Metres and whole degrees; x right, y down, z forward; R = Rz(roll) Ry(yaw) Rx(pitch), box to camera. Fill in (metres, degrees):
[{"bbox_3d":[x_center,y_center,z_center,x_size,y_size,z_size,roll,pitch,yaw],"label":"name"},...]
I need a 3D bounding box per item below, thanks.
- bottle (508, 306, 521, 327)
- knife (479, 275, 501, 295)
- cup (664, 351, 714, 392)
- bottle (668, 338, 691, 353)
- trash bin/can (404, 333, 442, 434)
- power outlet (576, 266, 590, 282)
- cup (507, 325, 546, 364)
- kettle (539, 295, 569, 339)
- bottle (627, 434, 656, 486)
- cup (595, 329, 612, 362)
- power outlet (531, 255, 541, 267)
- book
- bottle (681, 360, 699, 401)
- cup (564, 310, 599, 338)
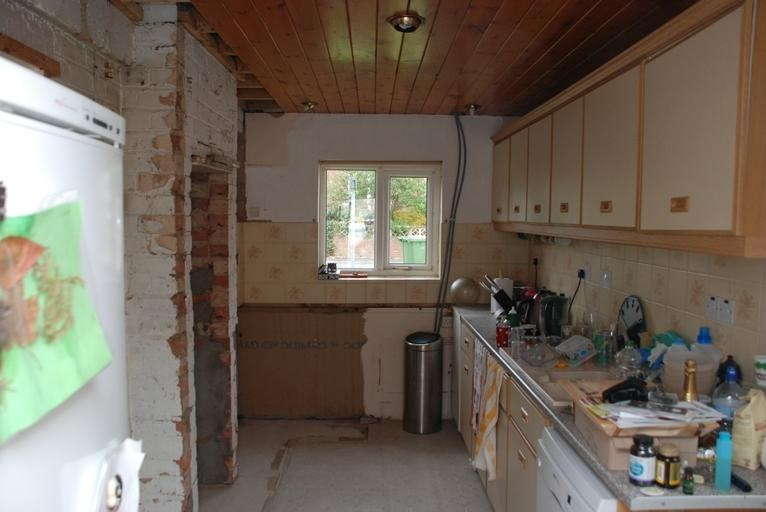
[{"bbox_3d":[0.895,0.415,3.727,0.092,0.159,0.092,-1,5,0],"label":"bottle"},{"bbox_3d":[0.850,0.236,4.422,0.084,0.085,0.315,2,-19,18],"label":"knife"},{"bbox_3d":[1.384,0.504,2.549,0.179,0.161,0.180,1,-2,0],"label":"cup"},{"bbox_3d":[1.403,0.422,2.659,0.064,0.040,0.064,0,7,0],"label":"bottle"},{"bbox_3d":[0.324,1.019,4.524,0.295,0.741,0.316,1,11,1],"label":"trash bin/can"},{"bbox_3d":[1.334,0.114,3.767,0.061,0.111,0.111,1,2,-4],"label":"power outlet"},{"bbox_3d":[0.856,0.514,3.269,0.135,0.230,0.240,0,1,-39],"label":"cup"},{"bbox_3d":[1.067,0.371,3.515,0.244,0.270,0.175,-2,4,-10],"label":"kettle"},{"bbox_3d":[0.986,0.771,2.125,0.091,0.178,0.076,6,12,27],"label":"bottle"},{"bbox_3d":[1.220,0.491,3.099,0.078,0.160,0.189,7,13,30],"label":"cup"},{"bbox_3d":[1.260,0.042,4.633,0.070,0.080,0.070,-3,9,-4],"label":"power outlet"},{"bbox_3d":[1.094,0.625,2.257,0.506,0.032,0.224,0,11,-1],"label":"book"},{"bbox_3d":[1.327,0.524,2.422,0.062,0.164,0.143,7,13,30],"label":"bottle"},{"bbox_3d":[1.205,0.409,3.413,0.151,0.165,0.172,-2,2,-38],"label":"cup"}]
